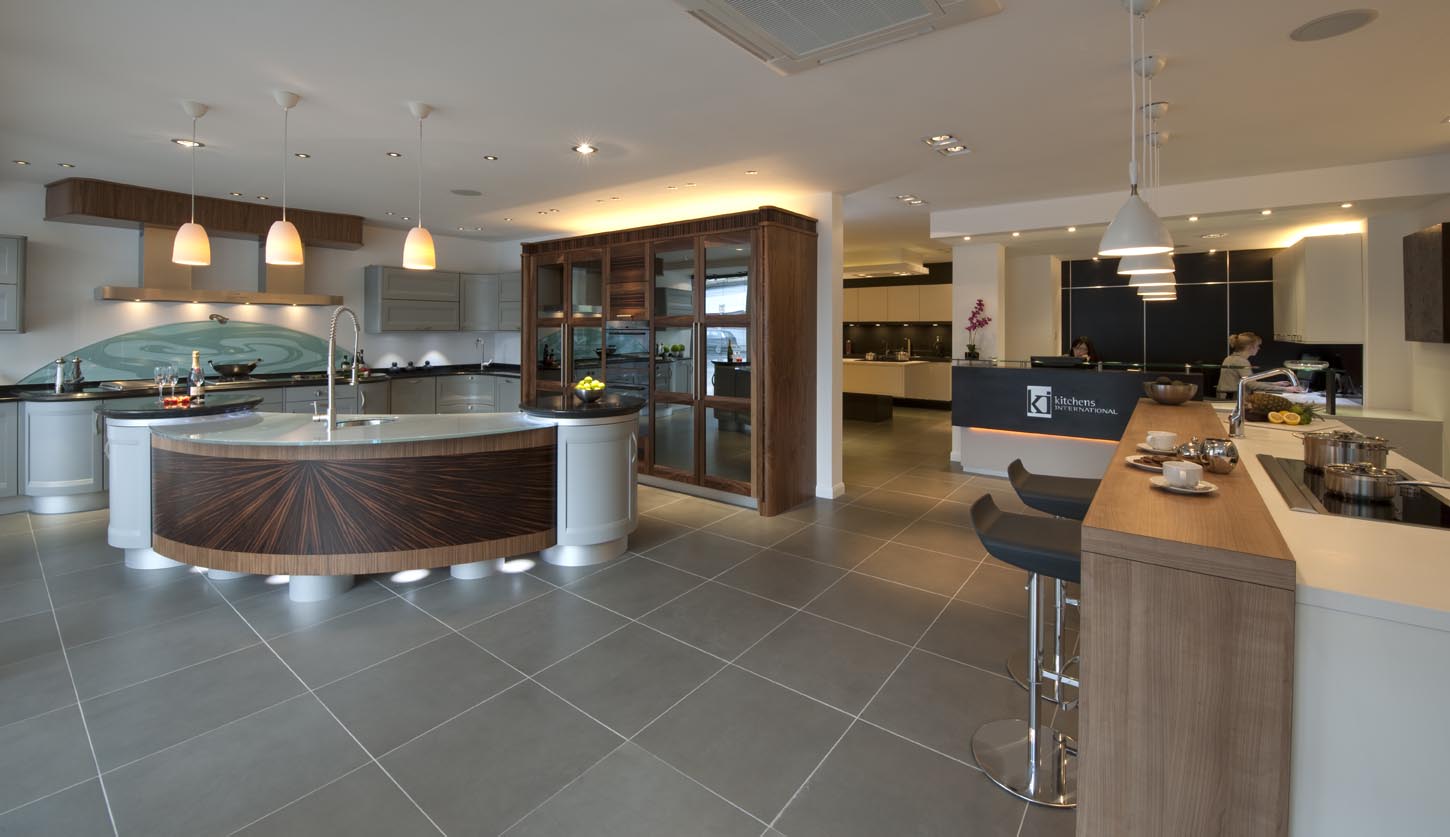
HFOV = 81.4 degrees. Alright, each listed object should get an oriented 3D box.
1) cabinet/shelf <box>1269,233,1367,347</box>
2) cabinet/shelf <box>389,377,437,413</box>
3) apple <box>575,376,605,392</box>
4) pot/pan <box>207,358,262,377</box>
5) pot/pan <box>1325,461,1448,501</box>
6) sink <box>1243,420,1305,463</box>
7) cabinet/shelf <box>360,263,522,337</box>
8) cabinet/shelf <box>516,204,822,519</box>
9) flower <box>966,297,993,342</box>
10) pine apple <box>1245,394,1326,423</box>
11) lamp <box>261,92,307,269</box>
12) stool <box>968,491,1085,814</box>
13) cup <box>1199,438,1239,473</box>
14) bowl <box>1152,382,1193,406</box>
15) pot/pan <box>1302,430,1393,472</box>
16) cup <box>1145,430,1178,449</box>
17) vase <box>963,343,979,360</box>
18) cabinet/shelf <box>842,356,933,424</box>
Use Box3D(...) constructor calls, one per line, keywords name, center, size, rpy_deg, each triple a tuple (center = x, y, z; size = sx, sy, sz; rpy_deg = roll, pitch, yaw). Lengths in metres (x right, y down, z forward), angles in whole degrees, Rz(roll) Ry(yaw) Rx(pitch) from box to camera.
Box3D(name="cabinet/shelf", center=(6.332, -1.384, 8.981), size=(0.519, 1.180, 1.429), rpy_deg=(0, 1, 8))
Box3D(name="cabinet/shelf", center=(-3.961, -0.299, 10.632), size=(0.159, 0.412, 0.482), rpy_deg=(4, 2, 34))
Box3D(name="apple", center=(-1.248, -0.325, 7.871), size=(0.256, 0.131, 0.236), rpy_deg=(0, -1, 17))
Box3D(name="pot/pan", center=(-5.533, -0.570, 9.566), size=(0.508, 0.205, 0.287), rpy_deg=(-5, 9, -30))
Box3D(name="pot/pan", center=(3.854, 0.379, 4.935), size=(0.291, 0.146, 0.554), rpy_deg=(-2, 6, -17))
Box3D(name="sink", center=(3.878, 0.159, 6.000), size=(0.311, 0.098, 0.458), rpy_deg=(6, 9, 41))
Box3D(name="cabinet/shelf", center=(-3.630, -1.511, 10.843), size=(1.872, 0.847, 0.603), rpy_deg=(-3, 8, -21))
Box3D(name="cabinet/shelf", center=(-0.751, -0.648, 9.606), size=(3.703, 2.936, 1.078), rpy_deg=(5, 8, 39))
Box3D(name="flower", center=(3.037, -1.190, 10.111), size=(0.266, 0.489, 0.106), rpy_deg=(0, 8, 3))
Box3D(name="pine apple", center=(4.309, -0.098, 6.559), size=(0.425, 0.173, 0.305), rpy_deg=(2, -2, 43))
Box3D(name="lamp", center=(-4.264, -2.122, 8.163), size=(0.349, 1.299, 3.504), rpy_deg=(-4, 9, -27))
Box3D(name="stool", center=(1.945, 1.430, 5.508), size=(0.686, 1.870, 0.822), rpy_deg=(3, 8, 18))
Box3D(name="cup", center=(3.156, 0.233, 5.410), size=(0.240, 0.160, 0.231), rpy_deg=(1, -1, 0))
Box3D(name="bowl", center=(3.781, -0.214, 7.173), size=(0.325, 0.182, 0.229), rpy_deg=(3, 9, 23))
Box3D(name="pot/pan", center=(3.881, 0.193, 5.309), size=(0.276, 0.169, 0.421), rpy_deg=(1, 1, 14))
Box3D(name="cup", center=(2.961, 0.141, 5.715), size=(0.129, 0.080, 0.182), rpy_deg=(4, 9, 42))
Box3D(name="vase", center=(2.930, -0.798, 10.082), size=(0.200, 0.233, 0.175), rpy_deg=(0, -5, 7))
Box3D(name="cabinet/shelf", center=(2.591, -0.485, 13.743), size=(1.118, 0.956, 1.568), rpy_deg=(3, 9, 23))
